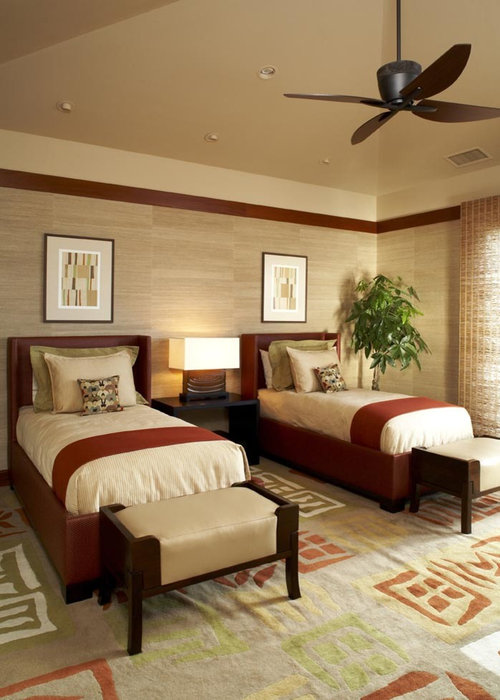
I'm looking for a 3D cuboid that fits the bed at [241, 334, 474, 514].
[{"bbox_3d":[0.663,0.487,4.262,0.971,1.181,1.865,-2,2,-29],"label":"bed"}]

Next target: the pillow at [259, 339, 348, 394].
[{"bbox_3d":[0.438,0.079,4.811,0.693,0.495,0.188,-2,-15,-36],"label":"pillow"}]

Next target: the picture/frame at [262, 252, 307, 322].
[{"bbox_3d":[0.332,-0.667,5.402,0.749,0.904,0.058,-1,1,-40],"label":"picture/frame"}]

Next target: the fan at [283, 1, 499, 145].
[{"bbox_3d":[0.909,-1.821,3.362,1.060,1.072,0.975,2,7,0],"label":"fan"}]

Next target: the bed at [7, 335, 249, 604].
[{"bbox_3d":[-0.819,0.504,3.159,0.989,1.110,1.778,-2,2,-28],"label":"bed"}]

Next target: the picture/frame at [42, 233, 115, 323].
[{"bbox_3d":[-1.391,-0.579,4.160,0.747,0.968,0.036,0,1,-37],"label":"picture/frame"}]

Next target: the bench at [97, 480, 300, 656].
[{"bbox_3d":[-0.238,0.706,2.142,0.744,0.364,0.454,-3,2,-33],"label":"bench"}]
